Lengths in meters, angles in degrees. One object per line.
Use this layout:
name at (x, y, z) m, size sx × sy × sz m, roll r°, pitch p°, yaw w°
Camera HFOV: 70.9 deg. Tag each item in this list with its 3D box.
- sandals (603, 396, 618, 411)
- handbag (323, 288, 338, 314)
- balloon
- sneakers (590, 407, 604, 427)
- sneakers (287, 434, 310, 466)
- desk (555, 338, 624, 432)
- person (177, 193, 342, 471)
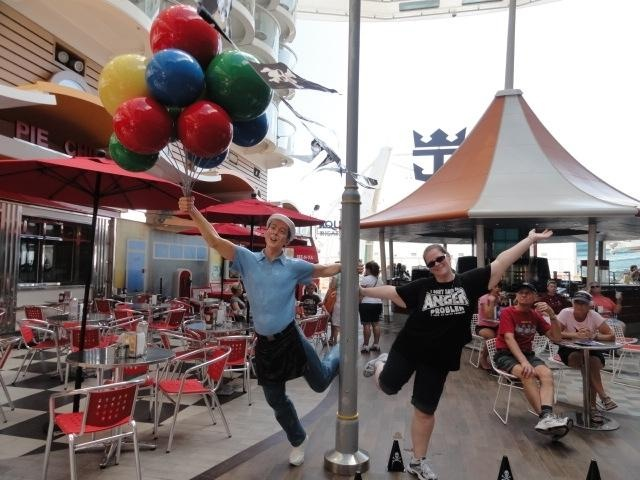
sandals at (4.122, 2.323, 6.427) m, size 0.118 × 0.115 × 0.265 m, roll -9°, pitch -3°, yaw 8°
handbag at (0.188, 1.458, 11.078) m, size 0.191 × 0.545 × 0.385 m, roll 8°, pitch 3°, yaw -24°
balloon at (-1.282, -1.528, 4.765) m, size 1.550 × 1.804 × 1.315 m, roll -7°, pitch 12°, yaw 14°
sneakers at (3.701, 2.345, 5.997) m, size 0.138 × 0.150 × 0.307 m, roll -4°, pitch -6°, yaw 30°
sneakers at (-0.238, 2.318, 4.933) m, size 0.123 × 0.152 × 0.354 m, roll 1°, pitch -3°, yaw 13°
desk at (3.611, 1.902, 6.010) m, size 0.810 × 1.137 × 0.599 m, roll 2°, pitch -5°, yaw -33°
person at (-0.487, 1.057, 4.736) m, size 1.563 × 2.711 × 0.479 m, roll 0°, pitch -4°, yaw -15°
